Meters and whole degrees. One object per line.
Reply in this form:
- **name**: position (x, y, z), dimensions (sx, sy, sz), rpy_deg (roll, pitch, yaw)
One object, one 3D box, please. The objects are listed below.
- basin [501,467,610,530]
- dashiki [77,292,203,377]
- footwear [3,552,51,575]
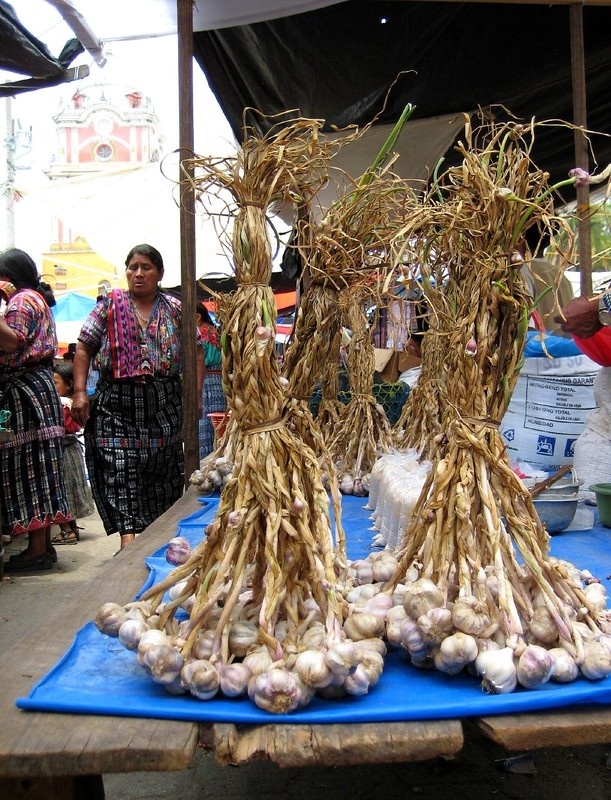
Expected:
- **basin**: position (0.874, 0.344, 2.365), dimensions (0.356, 0.172, 0.468), rpy_deg (-2, -4, 3)
- **dashiki**: position (-0.794, -0.234, 3.105), dimensions (0.627, 0.479, 0.353), rpy_deg (3, -3, -32)
- **footwear**: position (-1.477, 0.873, 3.588), dimensions (0.260, 0.096, 0.091), rpy_deg (1, -1, -12)
